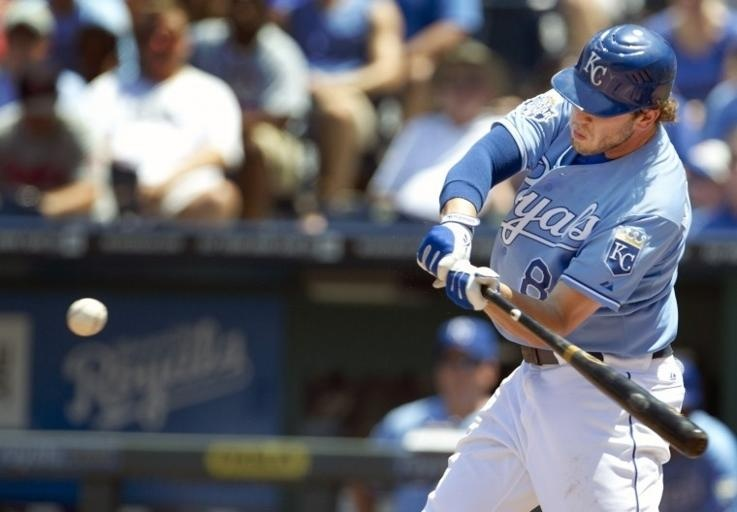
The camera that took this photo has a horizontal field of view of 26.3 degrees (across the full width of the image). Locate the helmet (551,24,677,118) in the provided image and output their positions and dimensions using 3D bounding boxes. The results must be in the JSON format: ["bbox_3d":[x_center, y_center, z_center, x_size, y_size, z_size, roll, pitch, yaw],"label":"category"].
[{"bbox_3d":[0.994,-0.728,6.292,0.470,0.225,0.330,-6,46,-18],"label":"helmet"}]

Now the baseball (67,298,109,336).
[{"bbox_3d":[-1.263,0.288,7.090,0.166,0.163,0.210,-8,18,-10],"label":"baseball"}]
